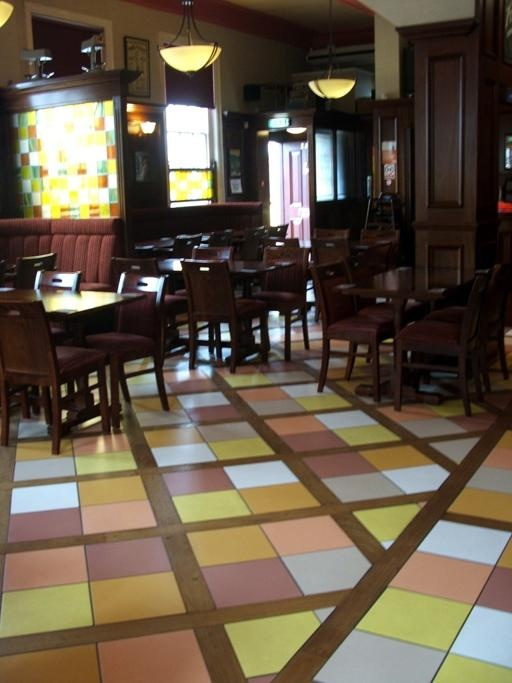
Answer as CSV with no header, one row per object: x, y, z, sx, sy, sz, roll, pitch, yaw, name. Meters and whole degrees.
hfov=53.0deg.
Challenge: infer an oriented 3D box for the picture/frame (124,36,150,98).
-2.010,-4.579,8.594,0.174,1.092,0.614,0,6,26,picture/frame
